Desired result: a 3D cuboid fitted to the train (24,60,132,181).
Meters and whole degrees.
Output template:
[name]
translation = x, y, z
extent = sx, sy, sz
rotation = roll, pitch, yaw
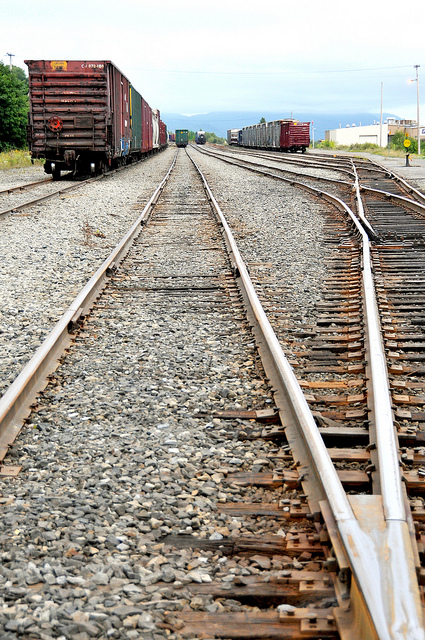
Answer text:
[train]
translation = -5.389, -8.237, 21.881
extent = 3.397, 4.382, 5.701
rotation = 1, 15, 8
